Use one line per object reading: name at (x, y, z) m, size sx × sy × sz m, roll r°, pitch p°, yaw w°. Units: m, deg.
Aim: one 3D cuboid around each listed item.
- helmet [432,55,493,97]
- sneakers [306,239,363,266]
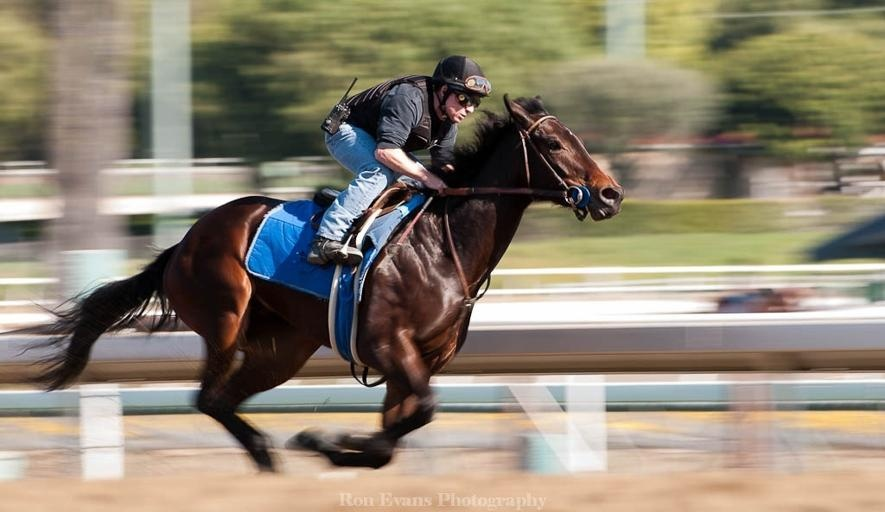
helmet at (0.179, -1.420, 11.667) m, size 0.370 × 0.190 × 0.441 m, roll -19°, pitch 38°, yaw -40°
sneakers at (-0.825, -0.038, 11.490) m, size 0.556 × 0.119 × 0.204 m, roll 3°, pitch 18°, yaw 11°
